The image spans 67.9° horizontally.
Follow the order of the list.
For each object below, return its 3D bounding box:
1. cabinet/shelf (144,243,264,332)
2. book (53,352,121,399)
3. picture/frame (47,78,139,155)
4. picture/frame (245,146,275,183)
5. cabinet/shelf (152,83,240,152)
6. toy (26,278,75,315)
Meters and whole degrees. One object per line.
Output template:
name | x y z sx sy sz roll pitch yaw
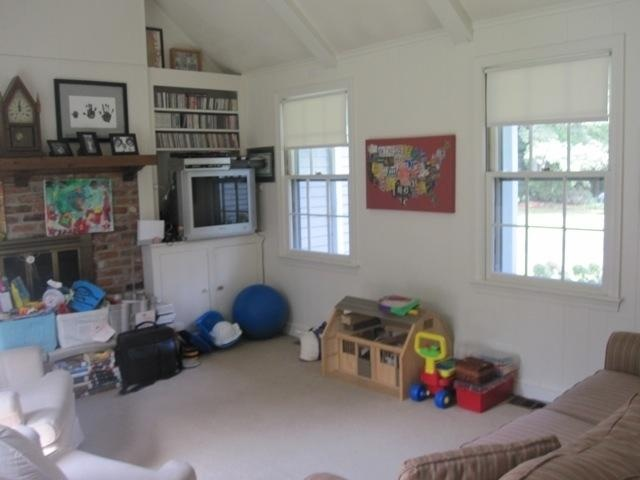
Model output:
cabinet/shelf | -1.371 0.564 5.390 0.926 0.898 0.299 -6 8 -40
book | -2.164 1.263 4.398 0.458 0.360 0.138 -12 7 -24
picture/frame | -2.408 -1.267 4.929 0.840 0.732 0.061 -4 4 -37
picture/frame | -0.726 -0.897 5.773 0.445 0.471 0.048 2 3 38
cabinet/shelf | -1.545 -1.481 5.731 0.857 0.597 0.278 -2 4 -27
toy | -2.674 0.571 4.682 0.413 0.299 0.382 -10 14 -33
